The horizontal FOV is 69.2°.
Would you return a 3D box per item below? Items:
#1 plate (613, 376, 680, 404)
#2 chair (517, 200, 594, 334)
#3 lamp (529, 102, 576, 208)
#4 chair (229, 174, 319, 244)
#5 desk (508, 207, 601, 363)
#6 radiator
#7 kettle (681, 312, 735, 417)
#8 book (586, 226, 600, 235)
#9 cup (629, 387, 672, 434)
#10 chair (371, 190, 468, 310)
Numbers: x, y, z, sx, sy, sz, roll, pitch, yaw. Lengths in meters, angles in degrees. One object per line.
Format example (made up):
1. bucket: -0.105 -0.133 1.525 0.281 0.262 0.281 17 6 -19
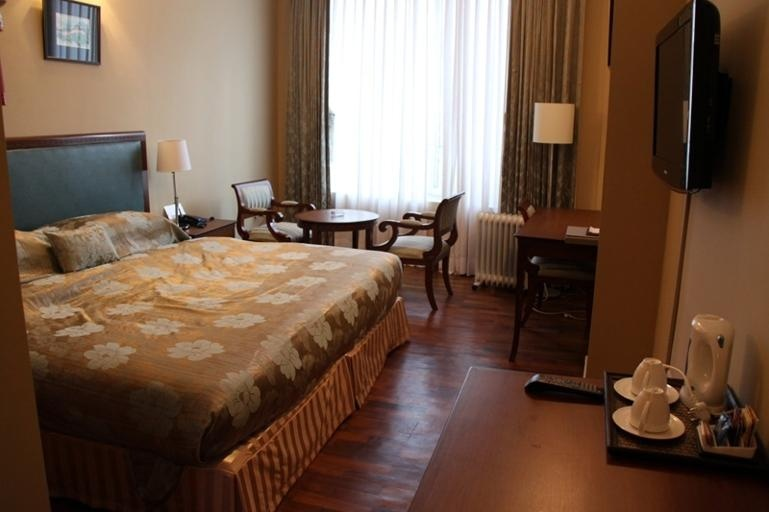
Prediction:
1. plate: 0.939 0.489 2.051 0.115 0.017 0.124 -2 18 1
2. chair: 1.466 0.127 4.796 0.415 0.583 1.126 1 13 12
3. lamp: 1.740 -1.035 5.774 0.384 1.089 0.478 2 13 16
4. chair: -1.233 -0.359 6.385 0.888 0.974 0.904 -2 13 -14
5. desk: 1.610 0.142 5.091 0.658 0.952 1.845 4 12 20
6. radiator: 1.258 -0.053 6.204 0.630 0.777 0.721 2 8 15
7. kettle: 1.133 0.370 1.957 0.151 0.326 0.155 0 15 0
8. book: 1.576 -0.188 4.209 0.112 0.033 0.106 -9 18 -31
9. cup: 0.908 0.518 1.896 0.115 0.135 0.153 6 12 27
10. chair: 0.275 -0.254 6.322 1.129 1.659 1.036 8 15 20
